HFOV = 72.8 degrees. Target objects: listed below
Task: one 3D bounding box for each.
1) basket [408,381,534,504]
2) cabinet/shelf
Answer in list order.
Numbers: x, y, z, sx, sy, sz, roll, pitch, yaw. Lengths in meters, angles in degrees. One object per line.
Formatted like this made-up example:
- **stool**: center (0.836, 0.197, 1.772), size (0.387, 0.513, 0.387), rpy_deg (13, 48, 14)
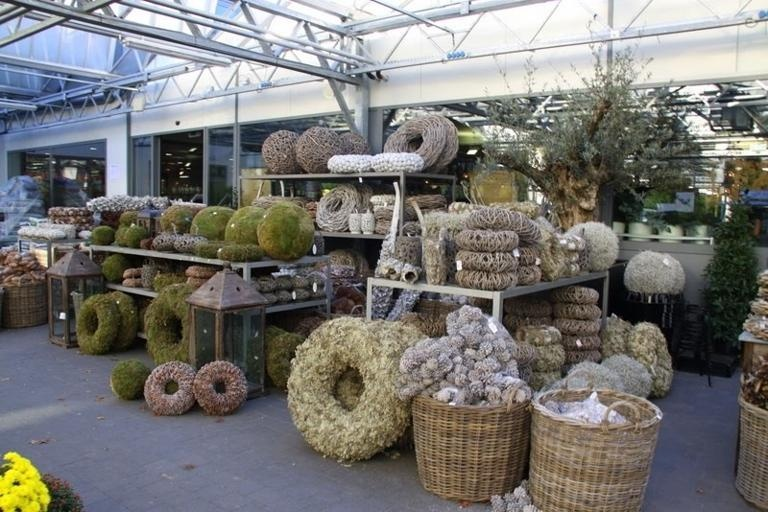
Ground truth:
- **basket**: center (0.642, 1.350, 3.813), size (0.768, 0.647, 0.701), rpy_deg (-1, 0, 25)
- **cabinet/shelf**: center (-1.595, -0.138, 7.835), size (9.308, 2.262, 4.638), rpy_deg (5, 10, 26)
